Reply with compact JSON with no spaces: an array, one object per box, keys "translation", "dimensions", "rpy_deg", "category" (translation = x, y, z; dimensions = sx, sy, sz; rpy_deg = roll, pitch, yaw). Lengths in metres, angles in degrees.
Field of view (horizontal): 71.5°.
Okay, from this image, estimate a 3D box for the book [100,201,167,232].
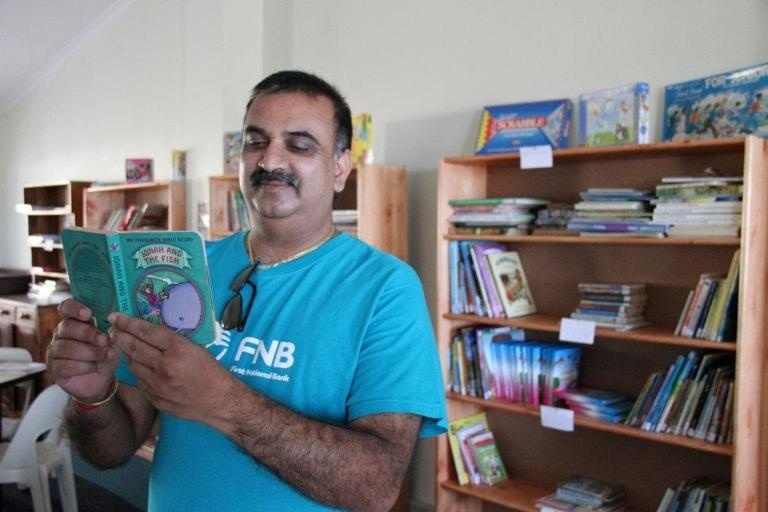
[{"translation":[-1.965,-0.308,4.195],"dimensions":[0.607,0.204,0.478],"rpy_deg":[1,3,43],"category":"book"}]
